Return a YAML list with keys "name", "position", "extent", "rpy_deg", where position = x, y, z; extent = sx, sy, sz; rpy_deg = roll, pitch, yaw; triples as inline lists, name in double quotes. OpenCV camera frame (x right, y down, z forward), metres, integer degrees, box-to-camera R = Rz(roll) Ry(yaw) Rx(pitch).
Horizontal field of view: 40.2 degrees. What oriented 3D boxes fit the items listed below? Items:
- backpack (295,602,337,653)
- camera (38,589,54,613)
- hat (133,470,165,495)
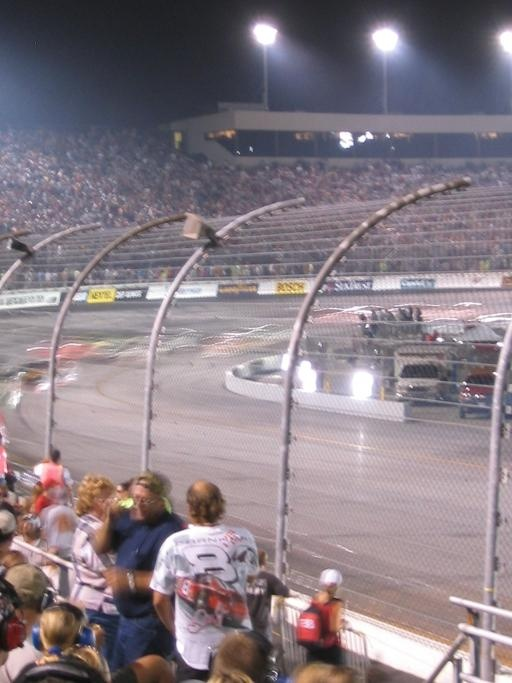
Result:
- name: "backpack"
  position: [0.207, 0.981, 2.396]
  extent: [0.133, 0.159, 0.183]
  rpy_deg: [0, -4, 21]
- name: "camera"
  position: [-0.558, 0.686, 1.887]
  extent: [0.031, 0.055, 0.124]
  rpy_deg: [1, 1, -12]
- name: "hat"
  position: [-0.361, 0.481, 2.449]
  extent: [0.090, 0.065, 0.085]
  rpy_deg: [31, -43, -32]
